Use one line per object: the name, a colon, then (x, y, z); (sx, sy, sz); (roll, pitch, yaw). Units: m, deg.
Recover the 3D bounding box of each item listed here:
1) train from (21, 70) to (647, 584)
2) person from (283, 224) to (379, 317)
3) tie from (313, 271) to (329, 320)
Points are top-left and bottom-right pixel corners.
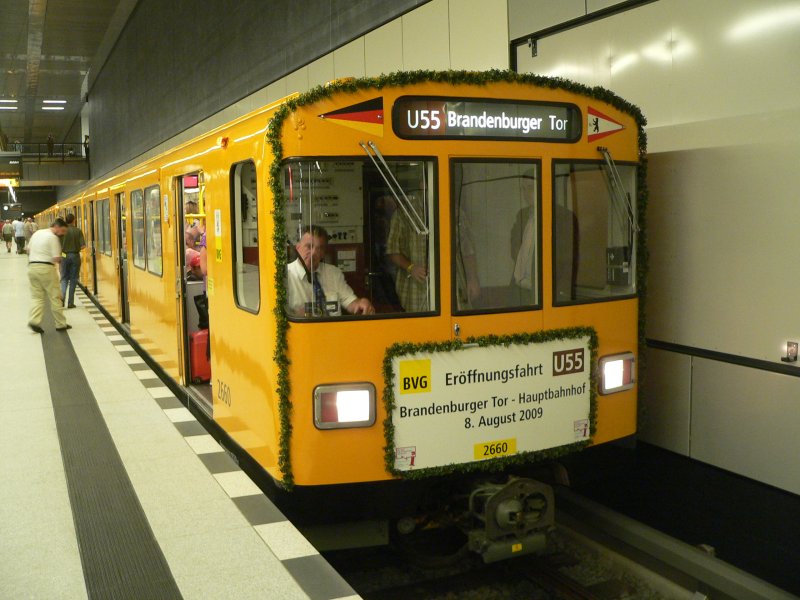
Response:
train: (-1.397, -0.728, 8.715); (2.034, 2.751, 9.446); (-1, 9, -19)
person: (-0.555, -0.114, 4.549); (0.548, 0.801, 0.404); (-1, -12, -23)
tie: (-0.536, -0.044, 4.546); (0.085, 0.262, 0.148); (-4, 8, -8)
